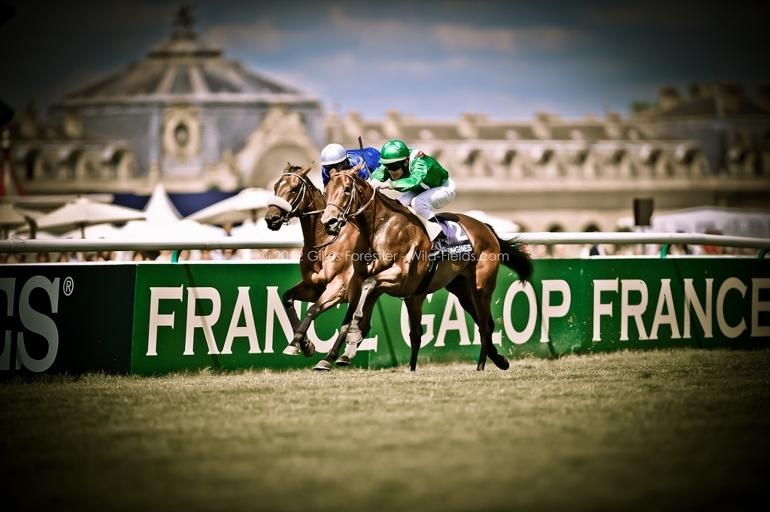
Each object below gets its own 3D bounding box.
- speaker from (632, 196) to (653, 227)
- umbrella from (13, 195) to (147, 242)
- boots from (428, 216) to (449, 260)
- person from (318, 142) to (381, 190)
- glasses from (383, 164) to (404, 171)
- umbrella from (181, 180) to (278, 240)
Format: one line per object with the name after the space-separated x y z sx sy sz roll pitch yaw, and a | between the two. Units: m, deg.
4.495 -0.785 19.916 0.277 0.523 0.621 -2 -5 8 | speaker
-5.980 -0.742 22.999 1.961 0.974 2.674 -1 -5 0 | umbrella
0.755 -0.205 16.382 0.210 0.369 0.662 4 -27 17 | boots
-0.473 -1.474 16.679 0.507 0.546 0.909 7 35 29 | person
0.120 -1.279 16.370 0.314 0.130 0.168 -1 -5 0 | glasses
-3.105 -0.894 23.150 1.328 1.180 2.602 1 -5 -25 | umbrella
